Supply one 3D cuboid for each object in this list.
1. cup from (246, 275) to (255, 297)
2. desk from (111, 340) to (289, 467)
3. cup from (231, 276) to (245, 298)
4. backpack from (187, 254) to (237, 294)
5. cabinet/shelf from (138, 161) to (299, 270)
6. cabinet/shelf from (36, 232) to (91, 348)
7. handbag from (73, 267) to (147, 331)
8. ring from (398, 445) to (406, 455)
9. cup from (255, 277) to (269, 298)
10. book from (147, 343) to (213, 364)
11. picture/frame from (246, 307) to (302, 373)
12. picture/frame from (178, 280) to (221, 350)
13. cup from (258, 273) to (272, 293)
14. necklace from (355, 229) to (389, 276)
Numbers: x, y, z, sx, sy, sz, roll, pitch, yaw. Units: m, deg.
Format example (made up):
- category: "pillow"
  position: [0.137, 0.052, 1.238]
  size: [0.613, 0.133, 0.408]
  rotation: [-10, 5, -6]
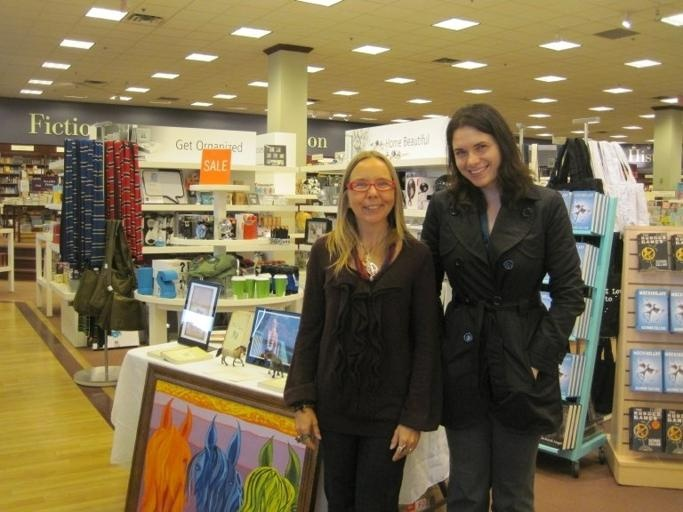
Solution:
- category: "cup"
  position: [-0.728, 0.247, 4.379]
  size: [0.131, 0.186, 0.129]
  rotation: [0, 3, 0]
- category: "desk"
  position: [-0.885, 0.892, 3.179]
  size: [0.837, 0.433, 0.849]
  rotation: [6, -1, 38]
- category: "cup"
  position: [-0.848, 0.248, 4.281]
  size: [0.153, 0.164, 0.098]
  rotation: [4, 6, 24]
- category: "backpack"
  position: [-1.099, 0.126, 4.574]
  size: [0.453, 0.194, 0.355]
  rotation: [2, 7, 40]
- category: "cabinet/shelf"
  position: [-1.575, -0.489, 6.442]
  size: [1.469, 0.951, 0.749]
  rotation: [-3, 6, -41]
- category: "cabinet/shelf"
  position: [-3.642, 0.461, 6.977]
  size: [0.464, 0.888, 1.535]
  rotation: [-1, 5, -28]
- category: "handbag"
  position: [-2.299, 0.420, 5.338]
  size: [0.593, 0.560, 0.336]
  rotation: [14, -2, -6]
- category: "ring"
  position: [0.238, 0.763, 2.123]
  size: [0.035, 0.031, 0.059]
  rotation: [3, -18, 11]
- category: "cup"
  position: [-0.629, 0.242, 4.363]
  size: [0.084, 0.175, 0.163]
  rotation: [6, 7, 40]
- category: "book"
  position: [-0.997, 0.570, 3.204]
  size: [0.415, 0.056, 0.237]
  rotation: [5, 7, 32]
- category: "picture/frame"
  position: [-0.362, 0.453, 2.837]
  size: [0.356, 0.368, 0.029]
  rotation: [7, 1, 34]
- category: "picture/frame"
  position: [-0.866, 0.361, 3.294]
  size: [0.343, 0.416, 0.174]
  rotation: [7, 7, 41]
- category: "cup"
  position: [-0.620, 0.221, 4.380]
  size: [0.142, 0.164, 0.135]
  rotation: [1, 6, 0]
- category: "necklace"
  position: [0.126, -0.009, 2.210]
  size: [0.127, 0.170, 0.044]
  rotation: [1, -18, 2]
